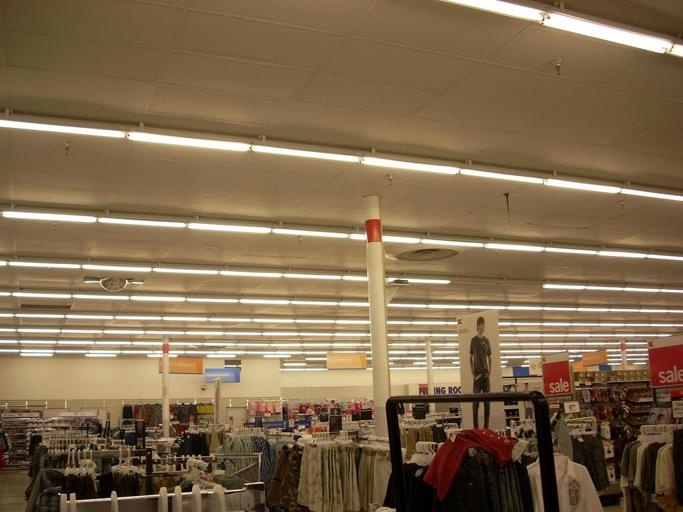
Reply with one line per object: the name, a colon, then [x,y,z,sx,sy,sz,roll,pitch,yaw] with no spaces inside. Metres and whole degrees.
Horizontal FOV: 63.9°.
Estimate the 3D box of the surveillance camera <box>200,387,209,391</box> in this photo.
surveillance camera: [-7.336,7.105,29.279,0.335,0.316,0.165,4,-7,-10]
